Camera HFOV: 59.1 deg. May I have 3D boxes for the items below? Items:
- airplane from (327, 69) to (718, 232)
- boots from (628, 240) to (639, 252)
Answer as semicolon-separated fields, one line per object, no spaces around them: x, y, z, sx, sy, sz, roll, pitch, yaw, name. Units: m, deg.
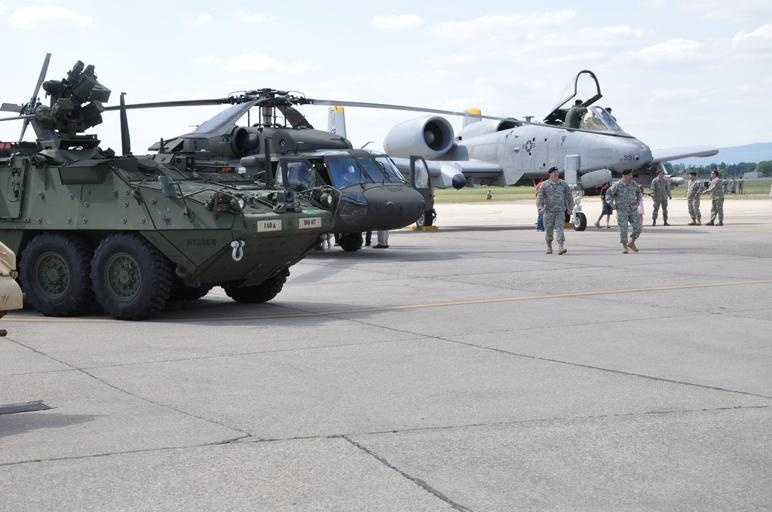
5.087;-4.420;26.738;10.789;2.867;10.132;-5;8;-42;airplane
6.347;-0.230;17.462;0.221;0.150;0.498;-5;-25;29;boots
